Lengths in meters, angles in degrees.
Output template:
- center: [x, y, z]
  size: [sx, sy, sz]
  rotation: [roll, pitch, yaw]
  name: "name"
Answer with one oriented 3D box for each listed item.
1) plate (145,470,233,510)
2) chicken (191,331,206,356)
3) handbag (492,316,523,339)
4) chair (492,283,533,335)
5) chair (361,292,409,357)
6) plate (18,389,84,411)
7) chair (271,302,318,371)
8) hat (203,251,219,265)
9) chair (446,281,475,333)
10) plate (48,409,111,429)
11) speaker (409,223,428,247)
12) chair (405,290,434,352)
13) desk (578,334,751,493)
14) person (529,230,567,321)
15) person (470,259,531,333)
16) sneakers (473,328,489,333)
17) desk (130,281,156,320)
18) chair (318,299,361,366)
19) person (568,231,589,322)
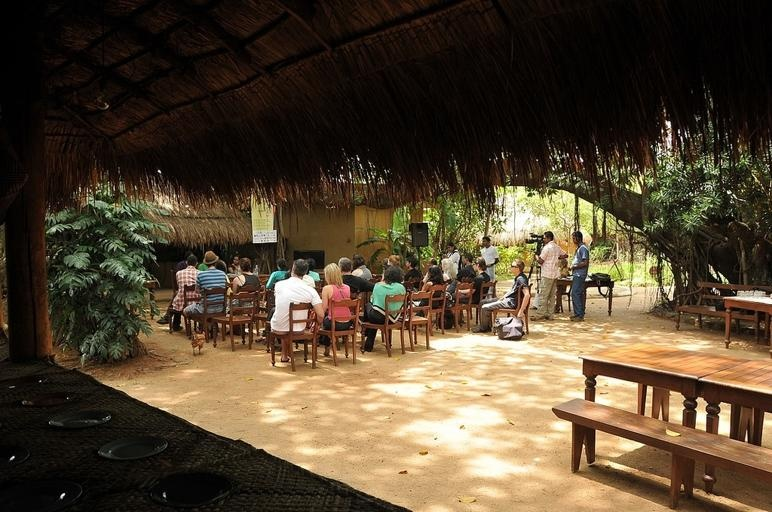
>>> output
- center: [-0.865, 1.038, 2.433]
  size: [0.352, 0.074, 0.218]
  rotation: [0, 4, 12]
  name: "plate"
- center: [-3.120, 1.485, 9.327]
  size: [0.204, 0.460, 0.602]
  rotation: [-2, -7, -28]
  name: "chicken"
- center: [2.316, 1.366, 10.279]
  size: [0.492, 0.380, 0.442]
  rotation: [0, 4, 11]
  name: "handbag"
- center: [2.569, 1.041, 11.072]
  size: [0.834, 1.552, 0.858]
  rotation: [3, 0, 11]
  name: "chair"
- center: [0.007, 1.101, 9.261]
  size: [0.570, 0.986, 0.599]
  rotation: [-3, 5, -44]
  name: "chair"
- center: [-1.945, 0.832, 3.154]
  size: [0.307, 0.036, 0.208]
  rotation: [-2, 5, -25]
  name: "plate"
- center: [-1.410, 1.196, 8.479]
  size: [0.668, 1.061, 0.703]
  rotation: [1, 0, -30]
  name: "chair"
- center: [-3.351, -0.013, 10.482]
  size: [0.244, 0.296, 0.115]
  rotation: [-3, -44, 4]
  name: "hat"
- center: [1.465, 1.025, 11.284]
  size: [0.625, 0.937, 0.581]
  rotation: [-2, -2, 40]
  name: "chair"
- center: [-1.632, 0.877, 2.931]
  size: [0.291, 0.047, 0.203]
  rotation: [-3, 5, -33]
  name: "plate"
- center: [0.858, -0.590, 15.304]
  size: [0.559, 0.873, 0.579]
  rotation: [-1, 0, -9]
  name: "speaker"
- center: [0.463, 1.145, 9.751]
  size: [0.591, 1.012, 0.600]
  rotation: [-11, -6, 41]
  name: "chair"
- center: [2.525, 1.590, 5.259]
  size: [1.432, 1.088, 1.154]
  rotation: [16, -8, -41]
  name: "desk"
- center: [3.848, 0.450, 12.848]
  size: [0.669, 2.034, 1.497]
  rotation: [1, 4, 18]
  name: "person"
- center: [2.276, 0.797, 10.919]
  size: [1.050, 1.506, 0.659]
  rotation: [4, 5, 15]
  name: "person"
- center: [1.951, 1.526, 11.239]
  size: [0.312, 0.136, 0.121]
  rotation: [5, -3, 5]
  name: "sneakers"
- center: [-4.683, 0.767, 10.643]
  size: [0.408, 0.578, 0.436]
  rotation: [3, -2, -24]
  name: "desk"
- center: [-0.759, 1.175, 8.858]
  size: [0.556, 1.067, 0.660]
  rotation: [0, 0, -22]
  name: "chair"
- center: [4.394, 0.454, 12.464]
  size: [0.343, 1.994, 0.801]
  rotation: [1, 4, 19]
  name: "person"
